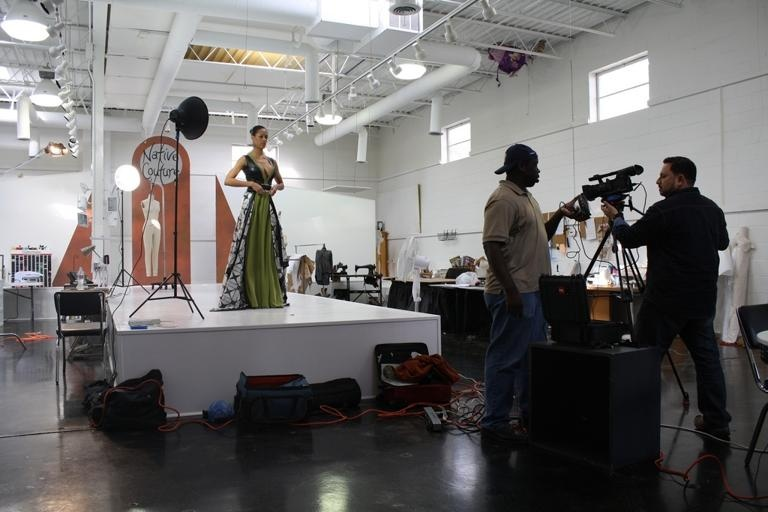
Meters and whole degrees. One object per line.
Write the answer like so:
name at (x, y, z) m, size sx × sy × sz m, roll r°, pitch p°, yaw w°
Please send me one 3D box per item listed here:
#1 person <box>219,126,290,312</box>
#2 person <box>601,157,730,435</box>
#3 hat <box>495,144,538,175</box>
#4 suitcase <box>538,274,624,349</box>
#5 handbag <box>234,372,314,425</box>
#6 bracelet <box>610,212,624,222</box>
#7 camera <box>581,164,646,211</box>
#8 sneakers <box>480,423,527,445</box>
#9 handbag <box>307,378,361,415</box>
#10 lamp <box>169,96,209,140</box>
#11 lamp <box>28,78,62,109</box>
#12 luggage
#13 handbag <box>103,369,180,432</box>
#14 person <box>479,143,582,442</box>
person at (-1.585, -0.438, 6.727) m, size 0.870 × 2.201 × 0.516 m, roll -3°, pitch 6°, yaw -25°
person at (2.442, 0.479, 4.809) m, size 0.881 × 2.101 × 0.350 m, roll 0°, pitch 5°, yaw 12°
hat at (1.105, -0.822, 4.822) m, size 0.355 × 0.194 × 0.231 m, roll -22°, pitch 9°, yaw -9°
suitcase at (1.449, 0.442, 4.331) m, size 0.656 × 0.566 × 0.415 m, roll 4°, pitch -4°, yaw -40°
handbag at (-1.008, 1.357, 5.233) m, size 0.526 × 0.290 × 0.485 m, roll 2°, pitch -4°, yaw -2°
bracelet at (1.988, -0.336, 4.850) m, size 0.115 × 0.063 × 0.085 m, roll 7°, pitch -7°, yaw -40°
camera at (1.968, -0.588, 4.881) m, size 0.151 × 0.331 × 0.537 m, roll -30°, pitch 12°, yaw -31°
sneakers at (0.999, 1.513, 4.753) m, size 0.362 × 0.164 × 0.147 m, roll -4°, pitch -5°, yaw 24°
handbag at (-0.482, 1.402, 5.496) m, size 0.443 × 0.272 × 0.181 m, roll 1°, pitch 10°, yaw -16°
lamp at (-2.198, -1.581, 6.346) m, size 0.392 × 0.469 × 0.429 m, roll -3°, pitch 6°, yaw -21°
lamp at (-5.617, -2.768, 9.392) m, size 0.415 × 0.467 × 0.611 m, roll -4°, pitch 6°, yaw -31°
luggage at (0.230, 1.190, 5.730) m, size 0.624 × 0.509 × 0.639 m, roll 1°, pitch -8°, yaw -13°
handbag at (-2.322, 1.350, 5.185) m, size 0.572 × 0.567 × 0.419 m, roll 9°, pitch -14°, yaw -21°
person at (1.099, 0.310, 4.716) m, size 0.580 × 2.491 × 0.411 m, roll -2°, pitch 5°, yaw -9°
